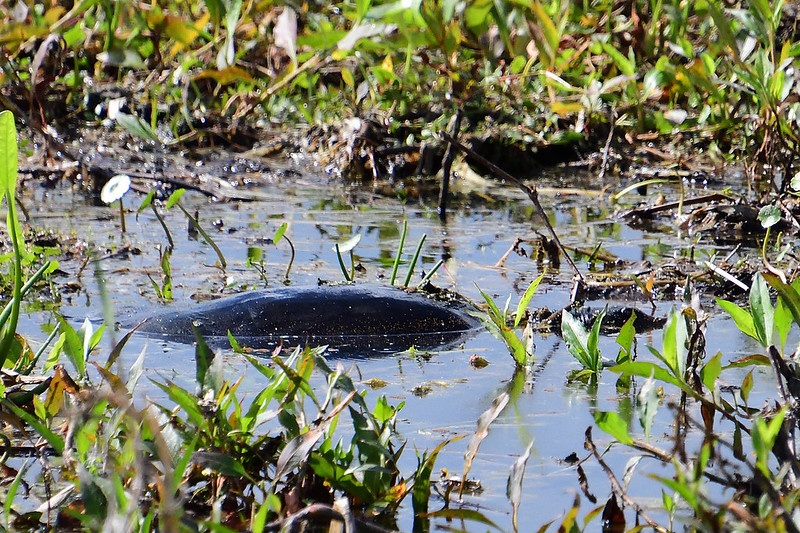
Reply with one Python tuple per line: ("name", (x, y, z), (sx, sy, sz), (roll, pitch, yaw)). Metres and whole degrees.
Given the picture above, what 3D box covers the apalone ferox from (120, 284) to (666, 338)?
("apalone ferox", (-0.144, 0.164, 3.553), (1.707, 0.166, 0.298), (1, 5, -4))
